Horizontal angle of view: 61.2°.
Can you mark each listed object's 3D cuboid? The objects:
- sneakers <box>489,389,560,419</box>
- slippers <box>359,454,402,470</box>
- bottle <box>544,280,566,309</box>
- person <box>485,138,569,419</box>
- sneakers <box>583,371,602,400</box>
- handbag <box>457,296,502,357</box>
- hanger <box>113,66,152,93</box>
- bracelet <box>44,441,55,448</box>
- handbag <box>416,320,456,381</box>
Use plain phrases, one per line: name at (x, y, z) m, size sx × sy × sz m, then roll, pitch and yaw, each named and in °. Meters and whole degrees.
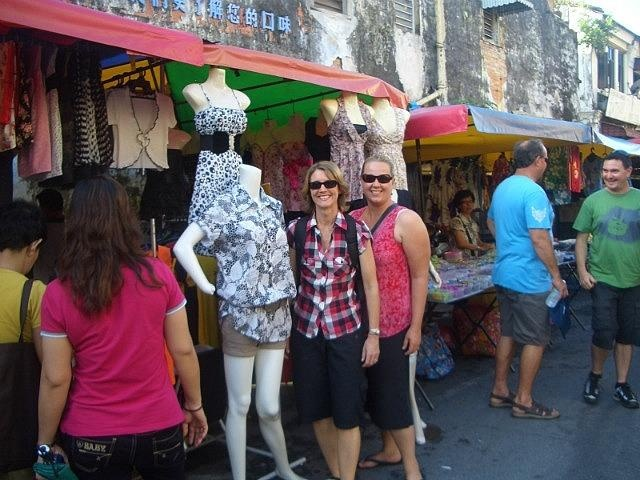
sneakers at (1.841, 1.470, 4.871) m, size 0.558 × 0.245 × 0.194 m, roll -4°, pitch -3°, yaw 14°
slippers at (0.476, 1.662, 4.053) m, size 0.285 × 0.076 × 0.123 m, roll -1°, pitch -3°, yaw -3°
bottle at (2.030, 0.492, 4.648) m, size 0.205 × 0.173 × 0.067 m, roll -5°, pitch 7°, yaw -30°
person at (1.828, 0.502, 4.798) m, size 0.640 × 2.123 × 0.375 m, roll 2°, pitch 7°, yaw 29°
sneakers at (2.554, 1.387, 5.037) m, size 0.116 × 0.141 × 0.332 m, roll -3°, pitch 42°, yaw 26°
handbag at (1.905, 1.033, 6.460) m, size 0.556 × 0.697 × 0.200 m, roll 8°, pitch 12°, yaw -6°
hanger at (-1.520, -1.289, 4.508) m, size 0.333 × 0.182 × 0.433 m, roll -12°, pitch 23°, yaw -13°
bracelet at (-1.273, 0.970, 2.569) m, size 0.031 × 0.013 × 0.023 m, roll 2°, pitch 1°, yaw 19°
handbag at (1.271, 1.209, 6.084) m, size 0.320 × 0.648 × 0.451 m, roll -15°, pitch -7°, yaw 26°
